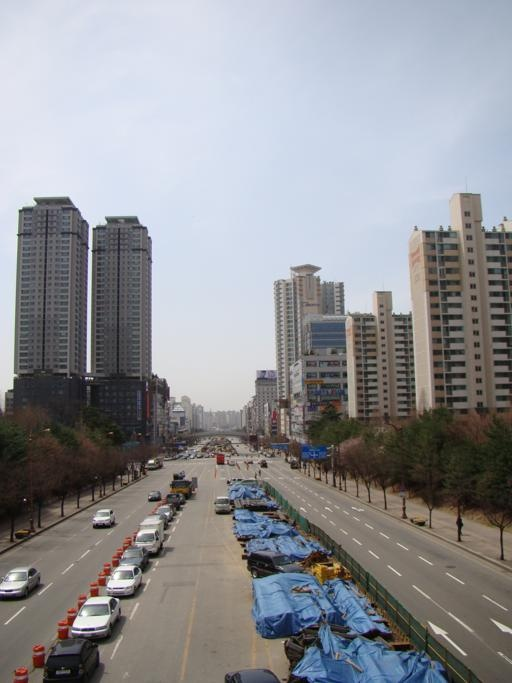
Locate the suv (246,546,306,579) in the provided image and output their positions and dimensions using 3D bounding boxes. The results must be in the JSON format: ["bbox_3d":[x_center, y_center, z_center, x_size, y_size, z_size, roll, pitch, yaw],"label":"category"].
[{"bbox_3d":[0.966,11.399,33.408,1.802,1.108,3.856,1,-9,-28],"label":"suv"}]
